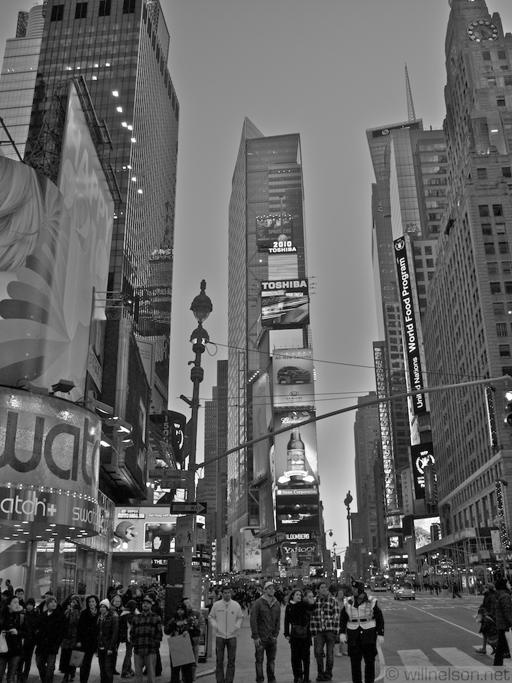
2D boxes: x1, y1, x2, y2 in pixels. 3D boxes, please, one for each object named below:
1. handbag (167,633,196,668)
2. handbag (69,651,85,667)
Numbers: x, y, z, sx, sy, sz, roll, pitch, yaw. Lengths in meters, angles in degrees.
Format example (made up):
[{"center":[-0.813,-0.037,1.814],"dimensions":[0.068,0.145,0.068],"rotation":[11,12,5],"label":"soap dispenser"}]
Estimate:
[{"center":[-1.255,5.214,10.376],"dimensions":[0.458,0.582,0.138],"rotation":[-6,1,-12],"label":"handbag"},{"center":[-3.211,5.705,11.077],"dimensions":[0.246,0.249,0.476],"rotation":[6,-24,-14],"label":"handbag"}]
